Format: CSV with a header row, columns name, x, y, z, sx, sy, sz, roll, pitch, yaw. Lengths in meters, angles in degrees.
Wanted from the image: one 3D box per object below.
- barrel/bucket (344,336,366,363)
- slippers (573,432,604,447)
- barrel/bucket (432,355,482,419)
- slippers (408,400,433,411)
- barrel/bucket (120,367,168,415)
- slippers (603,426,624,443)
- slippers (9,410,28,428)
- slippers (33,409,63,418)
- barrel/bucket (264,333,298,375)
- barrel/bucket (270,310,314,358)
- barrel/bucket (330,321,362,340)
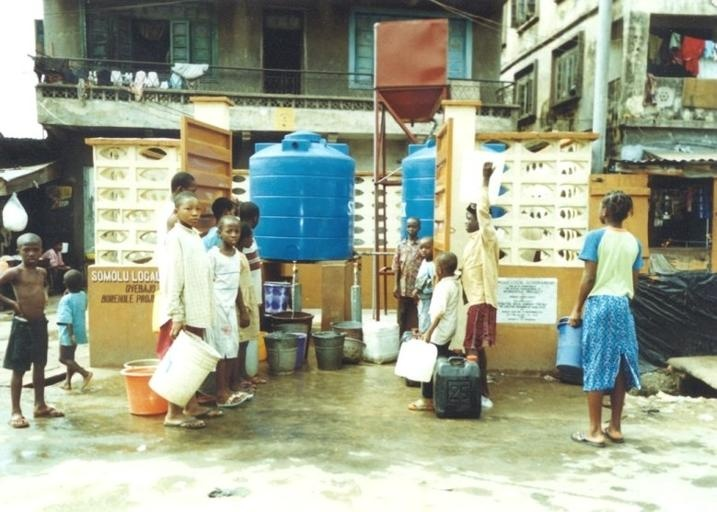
name,x,y,z,sx,sy,sz,roll,pitch,yaw
barrel/bucket,-0.103,1.478,15.335,0.407,0.282,0.374,1,1,0
slippers,3.040,2.397,12.776,0.336,0.099,0.166,7,0,34
barrel/bucket,1.509,1.814,13.607,0.651,0.846,0.786,0,2,8
slippers,0.872,2.076,13.603,0.342,0.149,0.142,1,4,1
barrel/bucket,-3.020,1.870,13.529,0.649,0.457,0.612,2,5,0
slippers,3.385,2.346,12.848,0.264,0.218,0.151,2,4,13
slippers,-4.592,2.219,13.124,0.262,0.190,0.195,0,4,-18
slippers,-4.255,2.147,13.384,0.426,0.160,0.137,-2,3,-12
barrel/bucket,-1.173,1.471,14.725,0.615,0.498,0.536,-4,6,-34
barrel/bucket,-1.120,1.229,15.498,0.749,0.634,0.688,-2,-2,0
barrel/bucket,-0.177,1.163,15.379,0.354,0.253,0.306,0,-2,27
